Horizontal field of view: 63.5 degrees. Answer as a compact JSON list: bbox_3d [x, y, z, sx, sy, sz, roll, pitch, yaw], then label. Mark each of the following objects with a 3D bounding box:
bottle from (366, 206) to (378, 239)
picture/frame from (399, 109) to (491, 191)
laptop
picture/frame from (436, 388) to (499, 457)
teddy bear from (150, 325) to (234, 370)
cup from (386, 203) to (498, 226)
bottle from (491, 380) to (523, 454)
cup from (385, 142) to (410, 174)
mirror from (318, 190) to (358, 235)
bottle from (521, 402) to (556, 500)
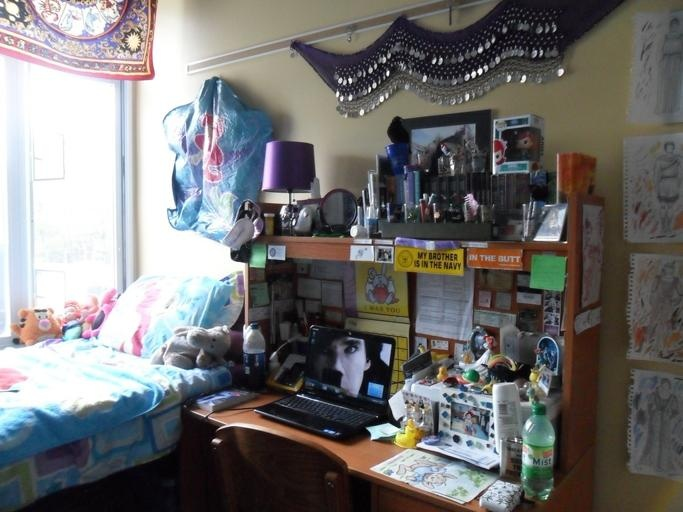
[{"bbox_3d":[0.125,-0.142,2.288,0.051,0.122,0.030,0,4,6],"label":"bottle"},{"bbox_3d":[0.440,-0.433,2.275,0.369,0.415,0.030,2,-9,44],"label":"picture/frame"},{"bbox_3d":[-0.070,0.491,2.256,0.496,0.333,0.411,1,3,33],"label":"laptop"},{"bbox_3d":[0.456,0.591,1.947,0.248,0.234,0.019,1,-1,40],"label":"picture/frame"},{"bbox_3d":[-0.708,0.485,2.663,0.265,0.137,0.219,-14,18,32],"label":"teddy bear"},{"bbox_3d":[0.411,-0.163,2.112,0.350,0.075,0.058,2,5,33],"label":"cup"},{"bbox_3d":[0.562,0.545,1.858,0.093,0.225,0.054,0,4,15],"label":"bottle"},{"bbox_3d":[0.242,-0.412,2.350,0.111,0.122,0.114,-1,-3,0],"label":"cup"},{"bbox_3d":[-0.012,-0.197,2.445,0.172,0.205,0.130,-1,4,-4],"label":"mirror"},{"bbox_3d":[0.653,0.632,1.807,0.126,0.312,0.094,-1,4,-6],"label":"bottle"}]
